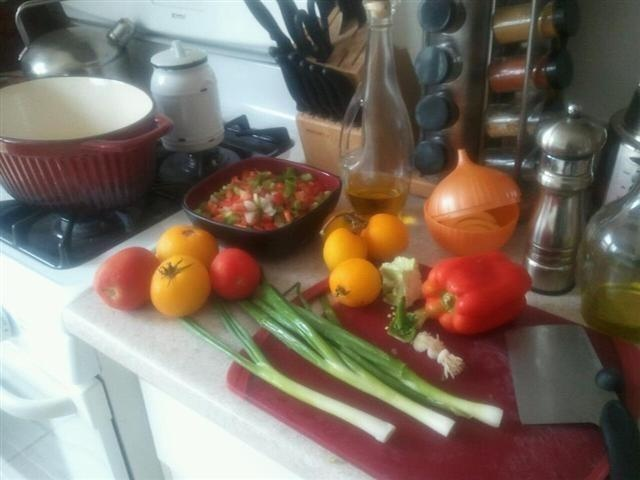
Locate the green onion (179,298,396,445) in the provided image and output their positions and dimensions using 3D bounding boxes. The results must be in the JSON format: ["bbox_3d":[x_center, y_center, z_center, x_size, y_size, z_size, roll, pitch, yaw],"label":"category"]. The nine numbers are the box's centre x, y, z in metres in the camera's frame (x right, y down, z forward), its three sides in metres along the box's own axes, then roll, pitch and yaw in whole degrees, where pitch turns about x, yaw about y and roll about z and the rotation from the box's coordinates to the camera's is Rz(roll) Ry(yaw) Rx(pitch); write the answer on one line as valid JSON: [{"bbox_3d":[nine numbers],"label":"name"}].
[{"bbox_3d":[-0.036,0.145,0.730,0.260,0.155,0.230,-22,33,-33],"label":"green onion"}]

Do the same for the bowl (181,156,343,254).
[{"bbox_3d":[-0.118,-0.079,1.000,0.220,0.085,0.220,-6,36,5],"label":"bowl"}]

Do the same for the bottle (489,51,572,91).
[{"bbox_3d":[0.379,-0.301,0.912,0.118,0.075,0.130,-12,32,-17],"label":"bottle"}]

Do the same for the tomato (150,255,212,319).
[{"bbox_3d":[-0.233,0.077,0.890,0.095,0.105,0.102,-4,48,4],"label":"tomato"}]

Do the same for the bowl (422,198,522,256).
[{"bbox_3d":[0.291,-0.020,0.970,0.174,0.115,0.184,3,-4,0],"label":"bowl"}]

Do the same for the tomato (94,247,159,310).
[{"bbox_3d":[-0.329,0.065,0.921,0.122,0.095,0.133,-6,32,-8],"label":"tomato"}]
